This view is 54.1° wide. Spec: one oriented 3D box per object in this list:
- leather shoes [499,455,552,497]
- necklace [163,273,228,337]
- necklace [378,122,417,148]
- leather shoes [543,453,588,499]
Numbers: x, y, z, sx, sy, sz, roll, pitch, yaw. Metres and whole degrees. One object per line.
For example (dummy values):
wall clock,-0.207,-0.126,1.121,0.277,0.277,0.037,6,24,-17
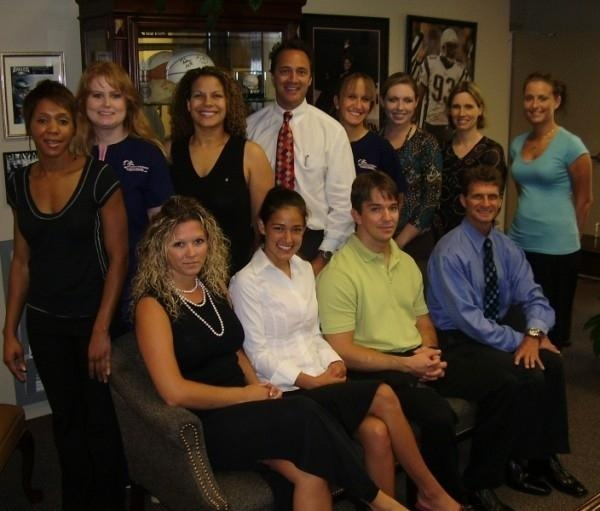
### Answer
leather shoes,1.054,1.037,2.749,0.106,0.118,0.310,-13,-2,-18
necklace,-0.362,0.175,2.135,0.091,0.011,0.262,-8,43,-46
necklace,0.598,-0.705,3.450,0.158,0.197,0.082,4,-19,9
leather shoes,1.229,1.016,2.757,0.100,0.132,0.314,-16,-3,-8
